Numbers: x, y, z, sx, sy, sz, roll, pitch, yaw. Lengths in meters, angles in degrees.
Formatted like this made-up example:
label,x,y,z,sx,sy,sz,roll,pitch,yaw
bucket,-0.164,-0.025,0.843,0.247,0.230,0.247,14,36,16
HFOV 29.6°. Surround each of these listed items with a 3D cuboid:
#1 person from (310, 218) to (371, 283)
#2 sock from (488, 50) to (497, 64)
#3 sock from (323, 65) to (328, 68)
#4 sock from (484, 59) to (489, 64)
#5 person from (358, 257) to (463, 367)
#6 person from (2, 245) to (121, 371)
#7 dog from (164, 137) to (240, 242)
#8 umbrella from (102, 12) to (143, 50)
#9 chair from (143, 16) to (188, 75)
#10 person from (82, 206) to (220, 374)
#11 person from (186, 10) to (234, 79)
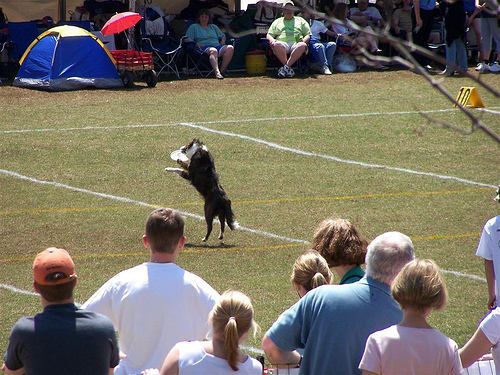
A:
label,x,y,z,sx,sy,sz,roll,pitch,yaw
person,1.143,0.744,11.928,0.761,0.841,0.753,-10,9,-24
sock,6.709,-3.604,26.019,0.098,0.469,0.264,5,-5,41
sock,2.191,-3.482,27.184,0.105,0.072,0.064,-3,7,-33
sock,6.579,-3.481,26.101,0.094,0.139,0.532,3,7,15
person,1.876,1.512,11.272,1.309,1.302,0.550,6,3,-2
person,-2.315,1.469,11.681,1.156,1.272,1.492,-2,6,-12
dog,-0.632,-0.086,16.063,1.181,1.605,1.165,15,19,20
umbrella,-3.363,-4.353,24.973,0.597,0.602,0.937,6,8,37
chair,-2.589,-4.168,27.663,1.216,1.614,1.135,-8,24,-29
person,-1.285,1.385,12.360,1.882,1.541,0.998,4,9,-9
person,-1.115,-4.131,27.258,1.322,1.946,0.832,3,6,11
